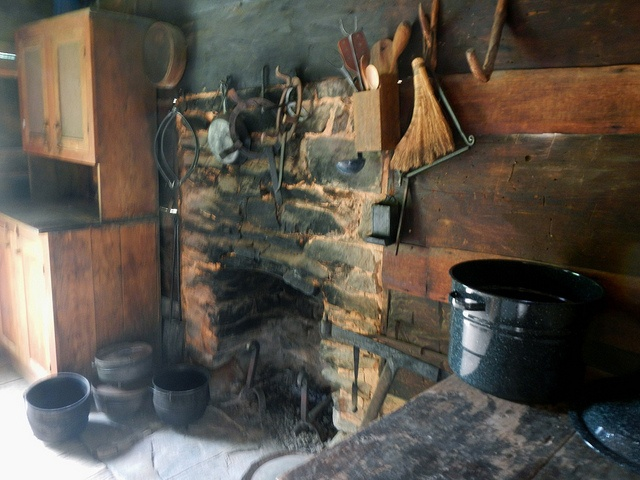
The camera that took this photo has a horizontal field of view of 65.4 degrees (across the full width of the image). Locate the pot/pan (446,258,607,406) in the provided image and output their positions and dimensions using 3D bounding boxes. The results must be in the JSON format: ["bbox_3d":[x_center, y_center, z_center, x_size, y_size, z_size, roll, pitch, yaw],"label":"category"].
[{"bbox_3d":[0.573,0.282,1.531,0.450,0.290,0.393,-10,19,-38],"label":"pot/pan"}]

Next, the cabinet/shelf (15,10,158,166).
[{"bbox_3d":[-1.371,-0.916,2.981,0.982,0.923,0.552,8,11,39],"label":"cabinet/shelf"}]

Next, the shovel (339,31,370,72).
[{"bbox_3d":[0.129,-0.718,1.917,0.093,0.150,0.130,10,16,28],"label":"shovel"}]

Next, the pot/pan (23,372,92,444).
[{"bbox_3d":[-1.445,0.906,2.769,0.402,0.292,0.369,-7,15,-38],"label":"pot/pan"}]

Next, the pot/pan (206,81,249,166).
[{"bbox_3d":[-0.482,-0.579,2.506,0.262,0.390,0.067,8,13,42],"label":"pot/pan"}]
